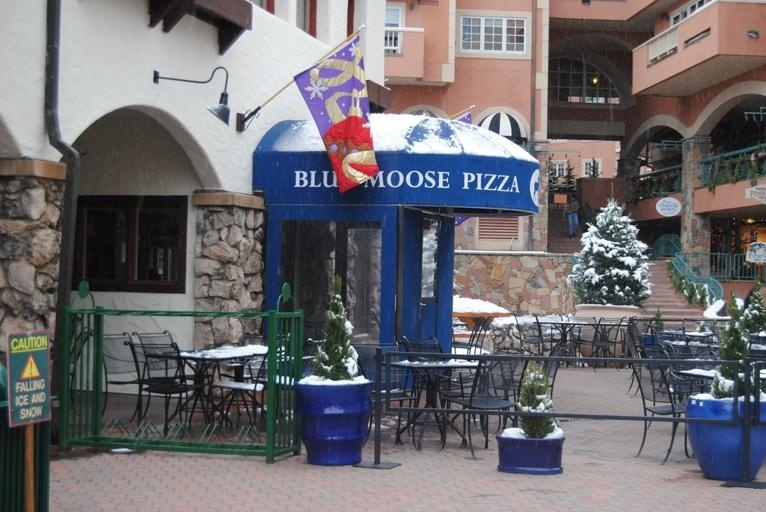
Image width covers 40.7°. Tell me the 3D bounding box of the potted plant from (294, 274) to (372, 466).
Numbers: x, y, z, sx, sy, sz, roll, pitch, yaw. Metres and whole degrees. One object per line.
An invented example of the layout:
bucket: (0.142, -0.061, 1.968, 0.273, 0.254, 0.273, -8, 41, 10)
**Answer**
potted plant: (-0.661, 1.537, 13.780, 1.003, 1.615, 0.462, 2, 1, -2)

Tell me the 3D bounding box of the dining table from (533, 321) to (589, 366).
dining table: (3.884, 1.831, 22.400, 1.284, 1.075, 1.346, 2, -3, -25)

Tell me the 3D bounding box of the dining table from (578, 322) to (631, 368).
dining table: (4.613, 1.868, 21.586, 0.918, 1.052, 0.690, -1, -6, 18)

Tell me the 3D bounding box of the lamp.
lamp: (-3.071, -2.606, 16.526, 1.277, 1.141, 0.603, 0, -1, 1)

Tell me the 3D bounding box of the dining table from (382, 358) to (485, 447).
dining table: (0.744, 2.056, 15.414, 1.262, 1.094, 1.353, 1, -5, -8)

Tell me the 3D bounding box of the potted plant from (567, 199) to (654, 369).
potted plant: (6.000, 0.717, 27.033, 1.906, 3.876, 1.955, 4, 2, 27)

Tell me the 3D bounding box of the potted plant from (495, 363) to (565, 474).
potted plant: (1.991, 2.148, 13.667, 0.796, 1.422, 0.797, 11, -15, -32)
